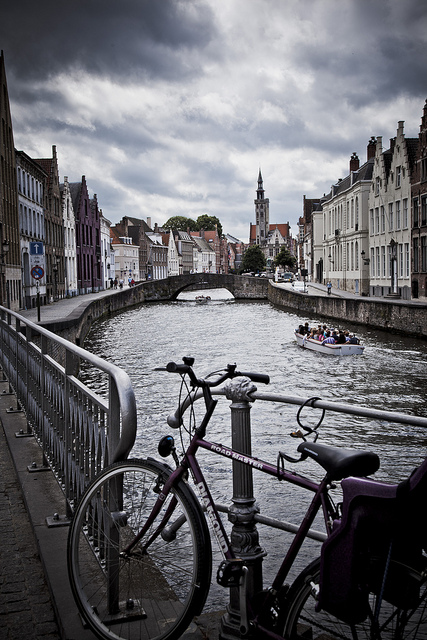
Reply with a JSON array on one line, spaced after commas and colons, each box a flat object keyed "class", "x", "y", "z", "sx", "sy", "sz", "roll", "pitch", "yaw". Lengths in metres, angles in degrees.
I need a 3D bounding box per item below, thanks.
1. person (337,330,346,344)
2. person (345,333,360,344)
[{"class": "person", "x": 5.842, "y": 0.838, "z": 29.746, "sx": 0.349, "sy": 0.565, "sz": 1.455, "roll": 1, "pitch": 2, "yaw": 8}, {"class": "person", "x": 6.251, "y": 0.912, "z": 29.014, "sx": 0.570, "sy": 0.396, "sz": 0.713, "roll": 11, "pitch": -24, "yaw": 1}]
